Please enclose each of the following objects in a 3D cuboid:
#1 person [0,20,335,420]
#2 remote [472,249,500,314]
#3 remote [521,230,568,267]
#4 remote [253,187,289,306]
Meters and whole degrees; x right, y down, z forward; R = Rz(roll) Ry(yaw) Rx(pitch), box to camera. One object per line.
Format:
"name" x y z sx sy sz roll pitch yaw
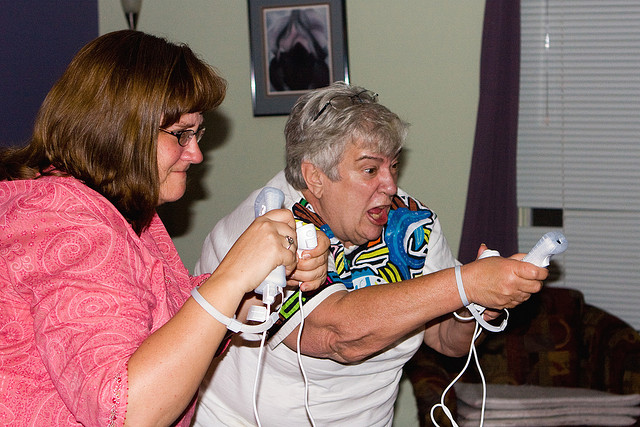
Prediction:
"person" -0.353 -0.113 2.314 1.114 1.838 1.022 0 8 -7
"remote" 0.526 0.225 1.816 0.067 0.216 0.181 3 4 18
"remote" 0.672 0.110 1.716 0.119 0.106 0.075 3 4 21
"remote" -0.123 0.080 1.683 0.097 0.366 0.130 13 -13 -36
